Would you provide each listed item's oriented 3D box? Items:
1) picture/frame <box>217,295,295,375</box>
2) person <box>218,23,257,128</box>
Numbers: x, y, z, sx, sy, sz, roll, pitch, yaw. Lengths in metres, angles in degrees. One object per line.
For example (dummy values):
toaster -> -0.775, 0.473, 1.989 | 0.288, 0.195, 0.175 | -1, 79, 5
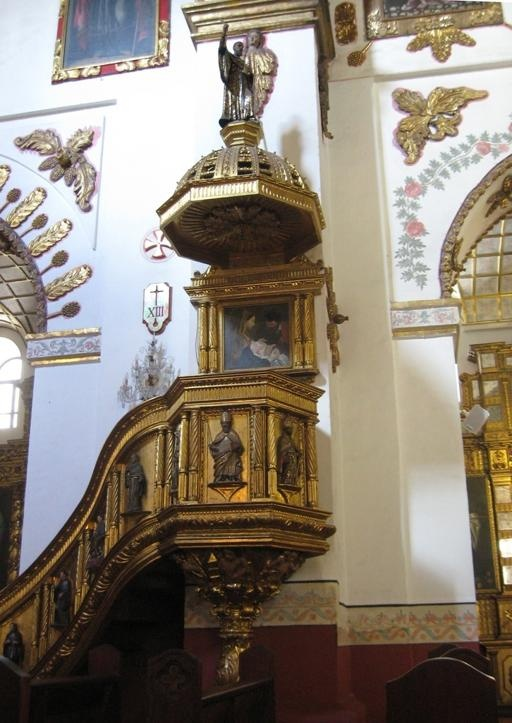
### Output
picture/frame -> 0.022, -0.181, 5.823 | 0.581, 0.548, 0.054 | -8, -29, 15
person -> -0.166, -2.241, 6.230 | 0.268, 0.967, 0.270 | -6, -21, 10
